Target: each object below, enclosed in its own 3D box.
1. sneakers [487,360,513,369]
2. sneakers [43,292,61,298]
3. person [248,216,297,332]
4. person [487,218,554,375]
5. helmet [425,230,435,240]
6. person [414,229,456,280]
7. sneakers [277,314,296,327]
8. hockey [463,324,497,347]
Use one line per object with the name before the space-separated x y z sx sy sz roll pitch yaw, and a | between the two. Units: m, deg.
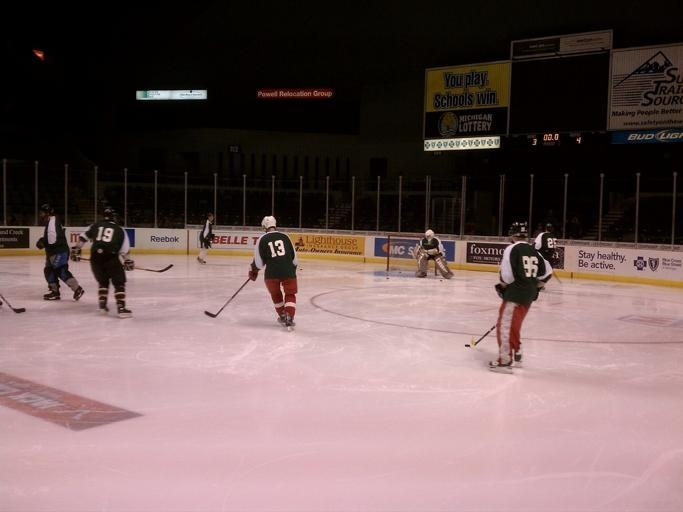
sneakers | 2.043 1.372 8.061 0.292 0.111 0.202 4 12 14
sneakers | -5.618 0.764 12.298 0.254 0.149 0.134 5 -4 -16
person | -0.997 0.291 10.049 0.693 1.740 0.856 -7 14 -33
person | 2.222 0.565 8.098 0.791 1.755 0.460 -7 14 -31
helmet | 2.497 -0.625 17.827 0.274 0.278 0.323 -1 -12 5
person | 2.849 0.001 18.944 1.503 1.661 0.779 -3 -8 15
sneakers | -0.861 1.022 9.944 0.264 0.224 0.165 3 12 9
hockey | 2.138 1.237 9.762 0.153 0.490 0.058 35 21 -33
